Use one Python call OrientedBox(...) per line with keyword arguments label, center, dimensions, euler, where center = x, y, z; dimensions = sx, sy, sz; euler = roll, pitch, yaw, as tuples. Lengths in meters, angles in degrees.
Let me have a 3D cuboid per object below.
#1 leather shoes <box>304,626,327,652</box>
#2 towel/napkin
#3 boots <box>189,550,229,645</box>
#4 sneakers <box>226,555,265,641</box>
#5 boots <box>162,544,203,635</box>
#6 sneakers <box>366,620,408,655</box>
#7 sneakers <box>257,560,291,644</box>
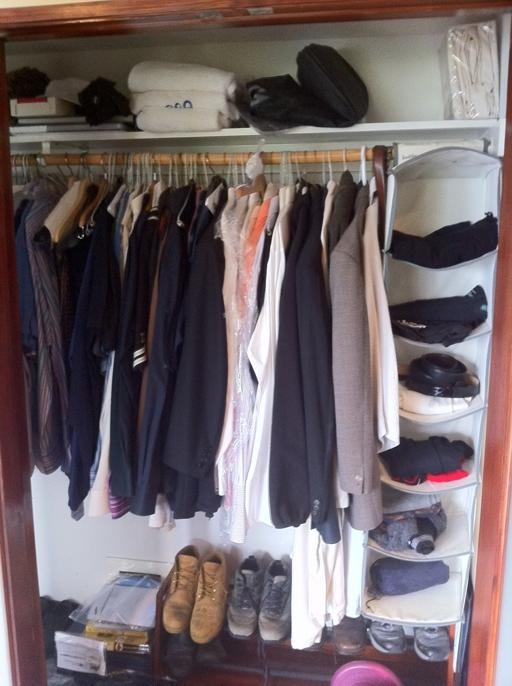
OrientedBox(label="leather shoes", center=(0.203, 0.939, 1.831), dimensions=(0.038, 0.093, 0.121), euler=(-11, -26, 39))
OrientedBox(label="towel/napkin", center=(-0.215, -0.708, 1.671), dimensions=(0.209, 0.117, 0.239), euler=(-2, 35, -3))
OrientedBox(label="boots", center=(-0.144, 0.828, 1.882), dimensions=(0.078, 0.121, 0.260), euler=(0, 19, 6))
OrientedBox(label="sneakers", center=(-0.029, 0.835, 1.883), dimensions=(0.069, 0.106, 0.230), euler=(1, 17, 8))
OrientedBox(label="boots", center=(-0.225, 0.819, 1.914), dimensions=(0.071, 0.111, 0.254), euler=(2, 15, 6))
OrientedBox(label="sneakers", center=(0.406, 0.902, 1.833), dimensions=(0.077, 0.065, 0.122), euler=(-9, 17, -3))
OrientedBox(label="sneakers", center=(0.056, 0.844, 1.884), dimensions=(0.064, 0.090, 0.213), euler=(-1, 22, 7))
